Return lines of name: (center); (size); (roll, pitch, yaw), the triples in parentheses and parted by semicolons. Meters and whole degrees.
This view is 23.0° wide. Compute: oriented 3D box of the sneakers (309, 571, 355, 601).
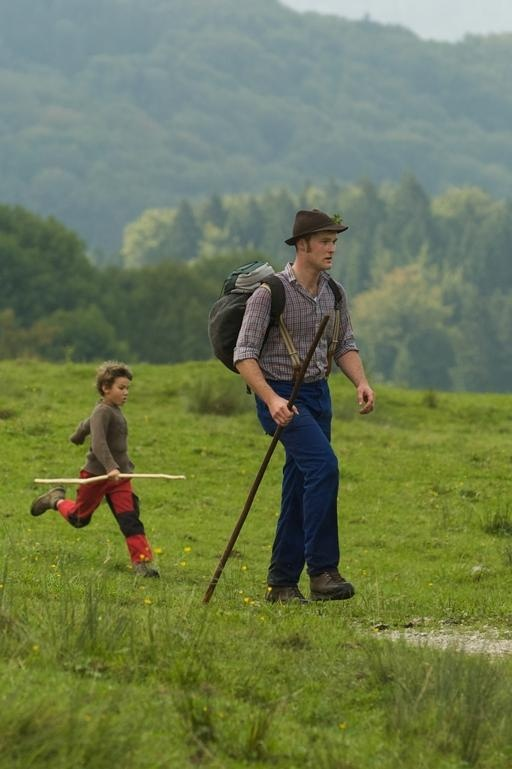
sneakers: (0.424, 1.182, 7.303); (0.322, 0.156, 0.116); (-5, -1, 25)

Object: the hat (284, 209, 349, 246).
hat: (0.347, -0.917, 7.473); (0.281, 0.111, 0.250); (-22, -4, 28)

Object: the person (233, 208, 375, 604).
person: (0.265, 0.172, 7.467); (0.811, 2.404, 0.952); (4, 9, 6)

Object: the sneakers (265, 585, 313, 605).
sneakers: (0.189, 1.270, 7.565); (0.284, 0.111, 0.092); (2, -2, 8)

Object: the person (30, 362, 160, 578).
person: (-1.061, 0.561, 8.858); (0.683, 1.454, 1.162); (1, 9, -14)
